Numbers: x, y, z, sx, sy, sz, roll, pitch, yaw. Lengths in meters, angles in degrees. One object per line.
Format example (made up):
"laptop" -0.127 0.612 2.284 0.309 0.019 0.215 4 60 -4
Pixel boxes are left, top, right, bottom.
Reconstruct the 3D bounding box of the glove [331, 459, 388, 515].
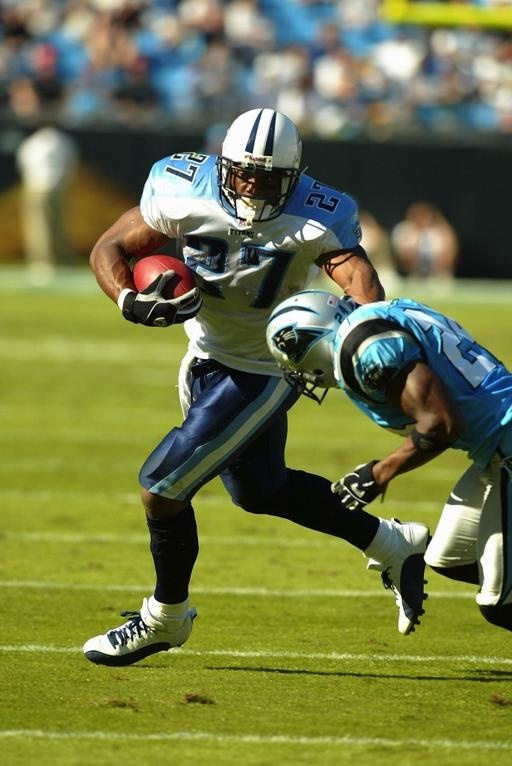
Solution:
"glove" 0.255 0.250 2.005 0.068 0.085 0.160 -9 -16 -33

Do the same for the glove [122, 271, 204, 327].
"glove" -0.242 -0.237 2.141 0.197 0.135 0.233 -4 -14 -6

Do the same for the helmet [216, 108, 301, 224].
"helmet" 0.008 -0.628 2.367 0.268 0.251 0.319 7 34 -2

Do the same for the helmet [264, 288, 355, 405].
"helmet" 0.089 -0.090 2.160 0.272 0.272 0.320 -7 3 8

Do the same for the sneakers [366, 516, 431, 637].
"sneakers" 0.423 0.538 2.558 0.249 0.381 0.131 -4 -1 -4

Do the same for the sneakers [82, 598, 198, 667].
"sneakers" -0.305 0.666 2.354 0.379 0.164 0.117 -10 51 -20
